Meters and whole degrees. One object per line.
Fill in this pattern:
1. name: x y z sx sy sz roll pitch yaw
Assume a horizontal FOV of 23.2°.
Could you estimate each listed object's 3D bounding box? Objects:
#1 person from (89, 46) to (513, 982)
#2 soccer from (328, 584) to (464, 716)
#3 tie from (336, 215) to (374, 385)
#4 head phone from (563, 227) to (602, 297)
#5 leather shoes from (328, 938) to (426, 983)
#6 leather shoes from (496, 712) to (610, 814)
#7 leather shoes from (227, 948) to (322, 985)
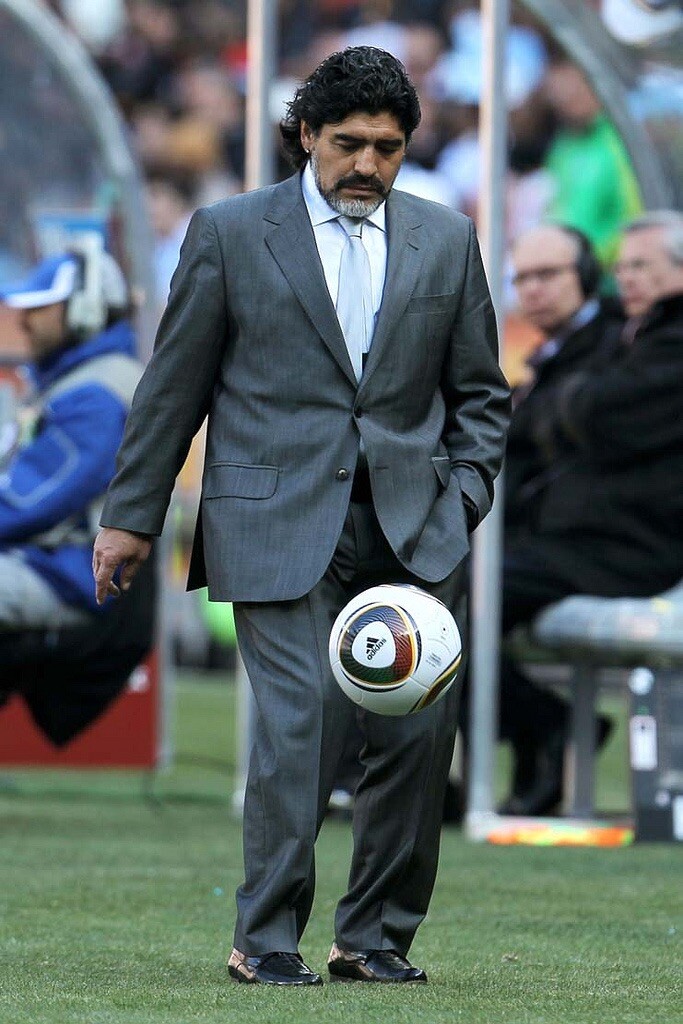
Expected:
1. person: -0.070 -0.087 2.918 0.606 1.652 0.571 0 0 -10
2. soccer: 0.071 0.199 2.691 0.226 0.205 0.204 -4 10 -4
3. tie: 0.030 -0.358 2.783 0.060 0.276 0.069 -10 15 -32
4. head phone: 0.631 -0.624 4.149 0.065 0.165 0.129 -18 14 -30
5. leather shoes: 0.055 0.730 2.747 0.123 0.056 0.226 -2 1 -11
6. leather shoes: 0.655 0.831 5.151 0.094 0.365 0.270 35 -32 -17
7. leather shoes: -0.120 0.729 2.633 0.168 0.056 0.095 0 1 22
